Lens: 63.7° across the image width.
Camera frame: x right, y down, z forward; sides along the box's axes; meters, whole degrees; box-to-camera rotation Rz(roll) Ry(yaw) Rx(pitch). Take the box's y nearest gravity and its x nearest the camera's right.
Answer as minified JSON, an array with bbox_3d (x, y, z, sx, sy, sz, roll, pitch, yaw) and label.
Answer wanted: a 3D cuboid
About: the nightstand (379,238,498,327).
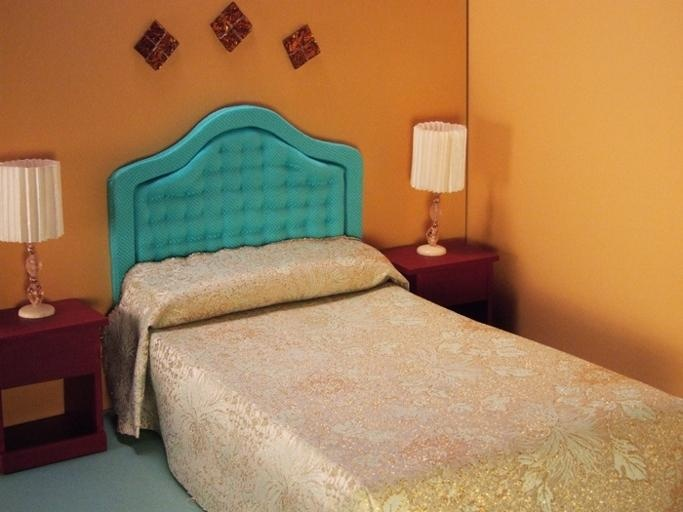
[{"bbox_3d":[0.695,0.113,3.899,0.769,0.765,0.543,-7,13,-32],"label":"nightstand"}]
